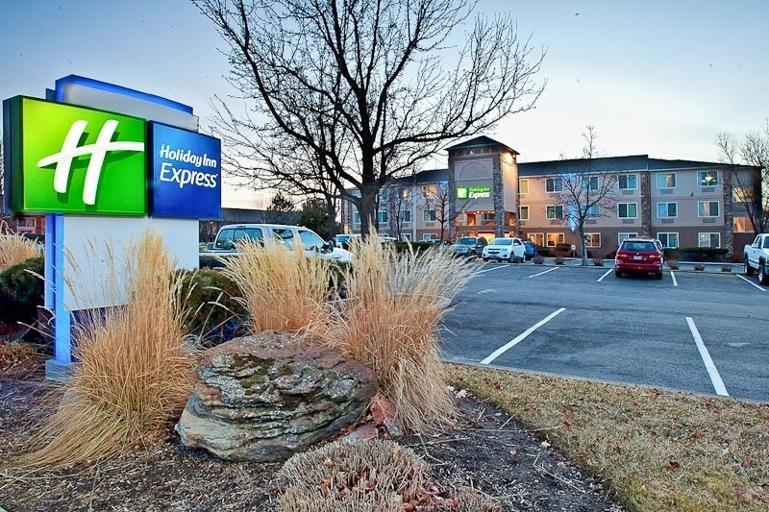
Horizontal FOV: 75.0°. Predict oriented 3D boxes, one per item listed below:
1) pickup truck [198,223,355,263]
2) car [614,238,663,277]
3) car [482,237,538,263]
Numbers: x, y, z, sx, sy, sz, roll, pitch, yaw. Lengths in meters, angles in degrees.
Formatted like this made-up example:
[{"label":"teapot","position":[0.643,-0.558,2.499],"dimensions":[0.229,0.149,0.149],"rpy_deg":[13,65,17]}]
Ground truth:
[{"label":"pickup truck","position":[-2.587,-0.432,11.992],"dimensions":[3.034,1.218,1.705],"rpy_deg":[-3,3,-31]},{"label":"car","position":[10.482,0.021,20.725],"dimensions":[1.131,1.012,2.644],"rpy_deg":[0,4,24]},{"label":"car","position":[7.217,-0.300,29.905],"dimensions":[1.409,1.464,4.484],"rpy_deg":[7,9,41]}]
